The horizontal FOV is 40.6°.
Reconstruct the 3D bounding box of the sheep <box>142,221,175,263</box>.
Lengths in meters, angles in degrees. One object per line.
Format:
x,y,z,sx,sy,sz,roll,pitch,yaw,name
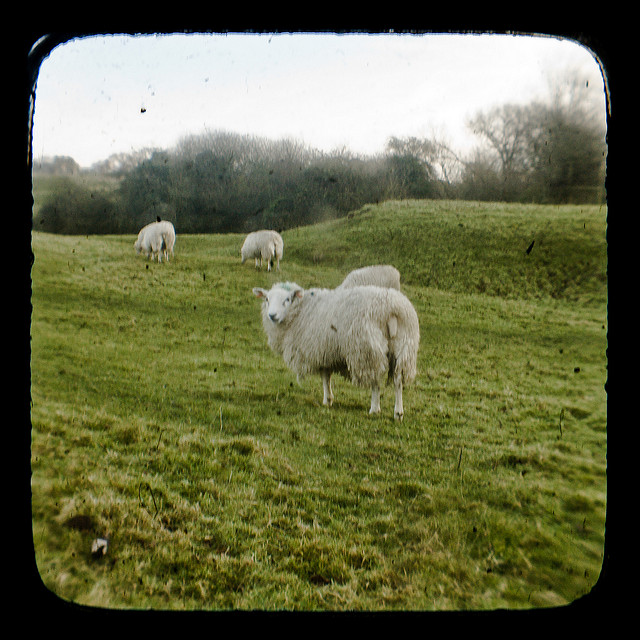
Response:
-3.401,-1.668,18.352,0.587,0.860,0.725,-2,9,-43,sheep

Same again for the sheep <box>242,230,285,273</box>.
-1.198,-1.481,18.391,0.939,0.857,0.593,9,8,37,sheep

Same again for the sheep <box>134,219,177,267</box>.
-3.446,-1.686,18.614,0.907,0.909,1.260,-1,9,-38,sheep

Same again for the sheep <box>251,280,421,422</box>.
0.306,0.421,11.659,2.280,2.376,1.224,6,5,36,sheep
